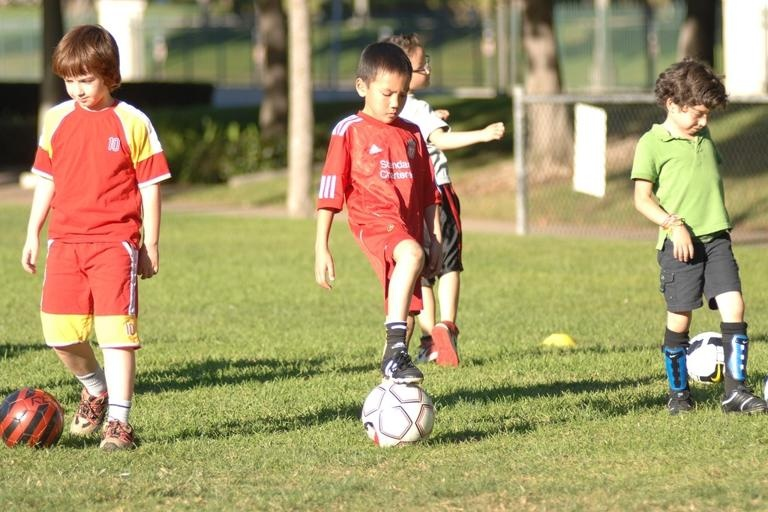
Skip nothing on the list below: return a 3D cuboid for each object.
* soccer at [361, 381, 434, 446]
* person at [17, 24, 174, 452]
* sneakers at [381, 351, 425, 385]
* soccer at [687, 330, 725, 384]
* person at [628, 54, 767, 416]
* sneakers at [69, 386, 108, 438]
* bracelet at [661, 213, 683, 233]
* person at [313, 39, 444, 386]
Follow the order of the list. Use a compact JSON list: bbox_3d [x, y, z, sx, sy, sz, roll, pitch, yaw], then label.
[{"bbox_3d":[0.092,1.118,8.178,0.458,0.439,0.458,-6,57,-8],"label":"soccer"},{"bbox_3d":[-2.024,-0.135,8.156,0.854,2.881,0.724,9,15,36],"label":"person"},{"bbox_3d":[0.129,0.790,8.163,0.306,0.271,0.218,3,13,14],"label":"sneakers"},{"bbox_3d":[2.526,0.800,9.127,0.364,0.423,0.371,1,1,5],"label":"soccer"},{"bbox_3d":[2.305,-0.130,8.584,0.944,2.548,0.586,2,12,12],"label":"person"},{"bbox_3d":[-2.129,1.111,8.447,0.155,0.186,0.449,4,33,1],"label":"sneakers"},{"bbox_3d":[2.083,-0.238,8.417,0.114,0.120,0.048,24,37,-10],"label":"bracelet"},{"bbox_3d":[-0.058,-0.269,8.418,0.845,2.485,1.034,3,12,14],"label":"person"}]
